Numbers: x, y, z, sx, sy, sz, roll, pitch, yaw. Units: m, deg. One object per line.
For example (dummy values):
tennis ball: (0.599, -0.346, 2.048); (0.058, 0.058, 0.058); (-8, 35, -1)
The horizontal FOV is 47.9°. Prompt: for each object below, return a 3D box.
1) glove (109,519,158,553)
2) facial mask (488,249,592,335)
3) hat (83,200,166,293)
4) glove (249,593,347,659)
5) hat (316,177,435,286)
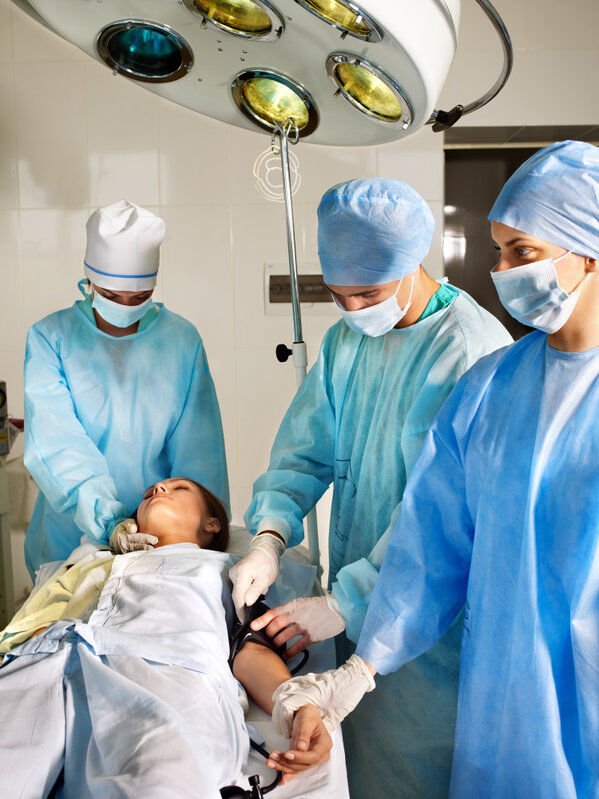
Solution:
glove: (-0.400, 0.330, 1.623); (0.091, 0.049, 0.072); (5, 49, 35)
facial mask: (0.355, -0.162, 0.991); (0.123, 0.104, 0.120); (-23, 12, -13)
hat: (-0.492, -0.398, 1.900); (0.228, 0.241, 0.222); (2, 41, -18)
glove: (-0.005, 0.450, 1.329); (0.163, 0.084, 0.089); (-17, -29, 18)
hat: (0.166, -0.363, 1.423); (0.209, 0.230, 0.283); (17, 26, 42)
